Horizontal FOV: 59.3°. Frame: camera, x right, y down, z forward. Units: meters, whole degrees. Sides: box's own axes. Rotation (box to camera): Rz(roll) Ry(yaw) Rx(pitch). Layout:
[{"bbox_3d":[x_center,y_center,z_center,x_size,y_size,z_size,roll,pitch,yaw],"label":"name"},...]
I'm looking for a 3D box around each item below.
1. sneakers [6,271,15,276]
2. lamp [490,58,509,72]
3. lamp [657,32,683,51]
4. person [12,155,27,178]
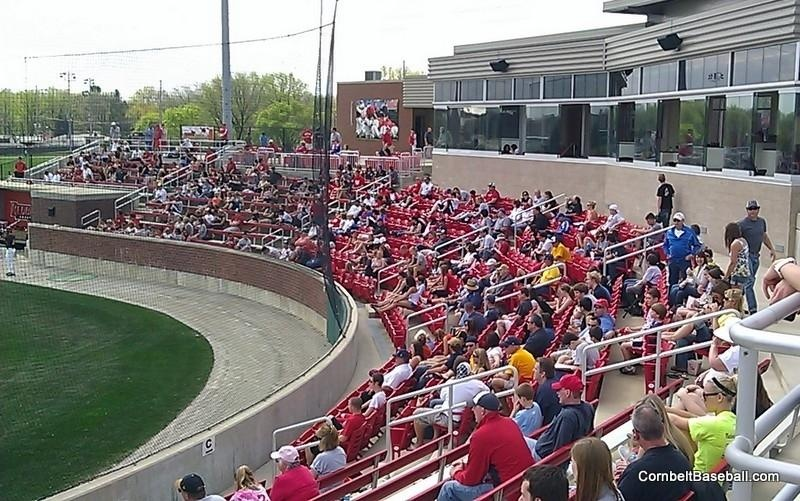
[{"bbox_3d":[-14.811,0.834,26.803,0.297,0.135,0.473,-12,16,-39],"label":"sneakers"},{"bbox_3d":[3.818,-7.208,27.327,0.341,0.504,0.837,-10,15,-37],"label":"lamp"},{"bbox_3d":[7.676,-5.992,20.067,0.292,0.523,0.722,-7,13,-25],"label":"lamp"},{"bbox_3d":[-20.666,-4.622,38.221,0.646,1.068,1.216,-8,13,-28],"label":"person"}]
